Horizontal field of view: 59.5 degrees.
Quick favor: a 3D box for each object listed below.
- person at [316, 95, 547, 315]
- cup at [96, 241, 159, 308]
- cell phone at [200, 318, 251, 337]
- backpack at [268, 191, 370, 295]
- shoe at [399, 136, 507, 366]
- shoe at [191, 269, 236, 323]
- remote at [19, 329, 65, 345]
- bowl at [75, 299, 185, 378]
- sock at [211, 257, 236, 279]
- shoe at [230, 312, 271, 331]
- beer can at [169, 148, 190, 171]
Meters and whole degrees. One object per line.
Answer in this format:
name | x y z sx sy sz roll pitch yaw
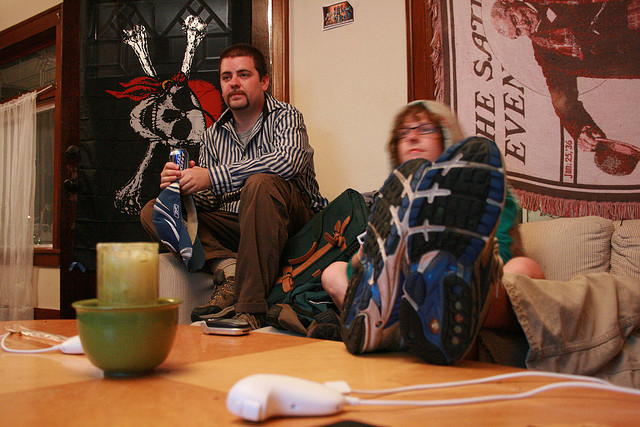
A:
person | 0.382 0.024 1.997 0.813 0.826 0.656 1 13 3
cup | -0.455 0.154 1.421 0.192 0.154 0.185 -1 -1 0
cell phone | -0.306 0.359 1.799 0.106 0.033 0.067 1 -4 13
backpack | 0.004 0.129 2.401 0.186 0.512 0.307 38 18 -36
shoe | 0.364 0.103 1.542 0.249 0.610 0.214 4 14 16
shoe | -0.442 0.340 2.354 0.110 0.188 0.285 -3 5 43
remote | -0.819 0.363 1.643 0.170 0.009 0.051 4 28 23
bowl | -0.468 0.275 1.359 0.207 0.136 0.209 -1 -7 0
sock | -0.421 0.238 2.438 0.038 0.091 0.068 26 -13 -23
shoe | -0.277 0.427 2.228 0.147 0.066 0.066 -1 13 -8
beer can | -0.633 -0.249 2.513 0.081 0.083 0.208 -3 13 -13
